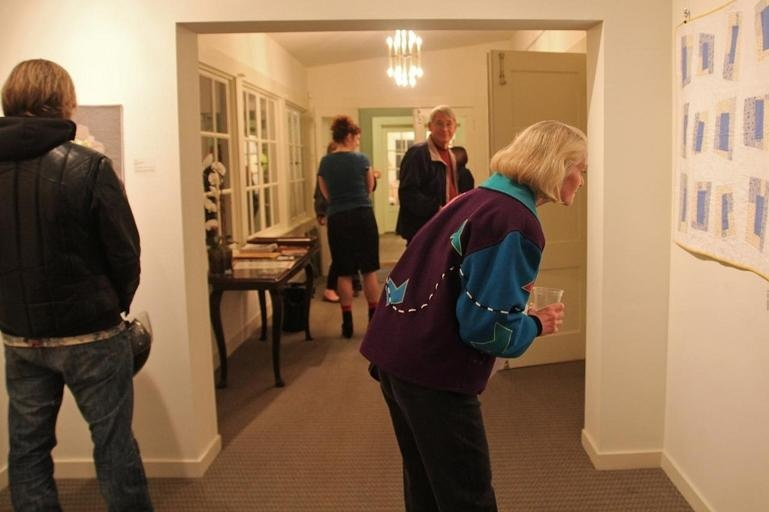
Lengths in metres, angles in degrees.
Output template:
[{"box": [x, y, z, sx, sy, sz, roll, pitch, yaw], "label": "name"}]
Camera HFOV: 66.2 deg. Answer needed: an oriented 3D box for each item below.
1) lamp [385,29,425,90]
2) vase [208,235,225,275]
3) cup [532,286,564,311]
[{"box": [0.209, -2.144, 6.472, 0.334, 0.526, 0.331, -10, 12, -26], "label": "lamp"}, {"box": [-1.314, -0.008, 4.602, 0.119, 0.271, 0.134, -5, 14, -16], "label": "vase"}, {"box": [0.700, 0.175, 2.494, 0.109, 0.081, 0.102, 8, 1, 0], "label": "cup"}]
